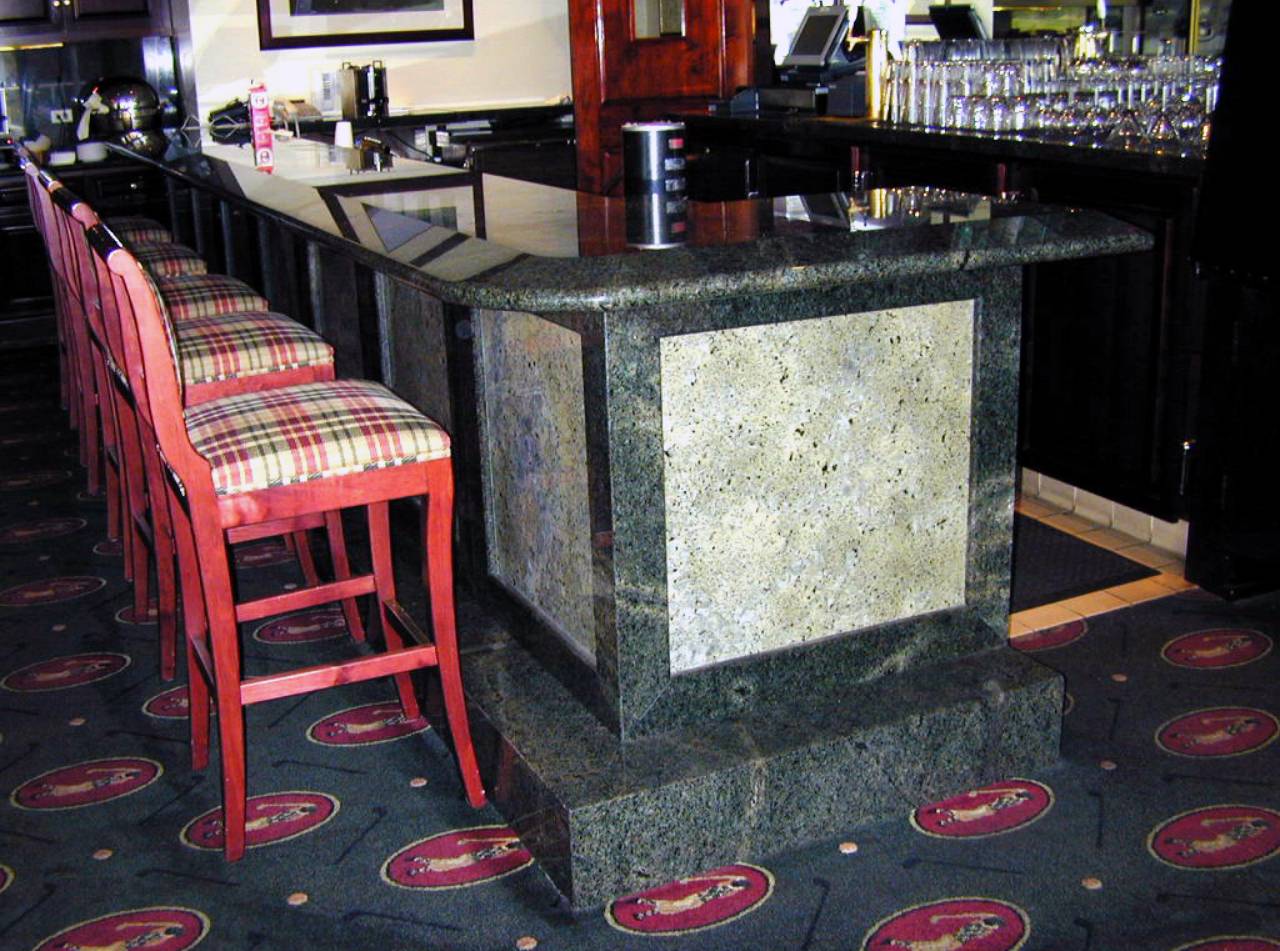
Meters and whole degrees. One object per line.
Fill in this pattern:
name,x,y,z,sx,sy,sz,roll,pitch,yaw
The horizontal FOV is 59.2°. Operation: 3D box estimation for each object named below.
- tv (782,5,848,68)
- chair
tv,0.907,-2.194,5.645,0.228,0.289,0.434,-9,22,-16
chair,-1.041,0.125,3.132,0.800,1.219,2.026,-10,25,-29
